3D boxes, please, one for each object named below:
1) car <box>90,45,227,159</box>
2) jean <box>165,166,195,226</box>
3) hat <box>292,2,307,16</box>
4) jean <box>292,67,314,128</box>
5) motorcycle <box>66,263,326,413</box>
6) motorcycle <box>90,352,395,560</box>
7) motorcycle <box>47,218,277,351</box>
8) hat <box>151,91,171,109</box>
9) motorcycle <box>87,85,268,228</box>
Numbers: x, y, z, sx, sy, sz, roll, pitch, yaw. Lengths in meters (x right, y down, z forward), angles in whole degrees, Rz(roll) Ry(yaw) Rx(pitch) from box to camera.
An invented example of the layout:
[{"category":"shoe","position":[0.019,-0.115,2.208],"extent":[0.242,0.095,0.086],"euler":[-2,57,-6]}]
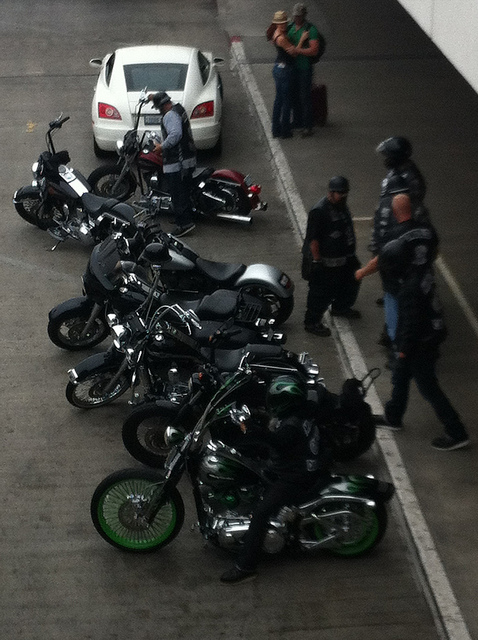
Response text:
[{"category":"car","position":[-1.452,-4.629,11.930],"extent":[2.707,1.372,4.235],"euler":[-1,44,1]},{"category":"jean","position":[-0.788,-1.708,8.767],"extent":[0.403,0.815,0.278],"euler":[-7,34,-11]},{"category":"hat","position":[1.008,-5.231,10.789],"extent":[0.196,0.175,0.308],"euler":[0,30,-1]},{"category":"jean","position":[1.118,-3.956,11.399],"extent":[0.398,1.062,0.501],"euler":[3,33,5]},{"category":"motorcycle","position":[-0.546,0.074,5.437],"extent":[2.656,1.361,0.994],"euler":[-1,62,3]},{"category":"motorcycle","position":[-0.009,0.824,4.410],"extent":[2.408,1.330,0.997],"euler":[6,47,-4]},{"category":"motorcycle","position":[-0.658,-0.406,6.197],"extent":[2.336,1.159,1.075],"euler":[5,54,4]},{"category":"hat","position":[-1.031,-2.881,8.348],"extent":[0.237,0.113,0.131],"euler":[-22,38,15]},{"category":"motorcycle","position":[-0.952,-2.178,9.049],"extent":[2.651,1.480,0.914],"euler":[10,33,15]}]
